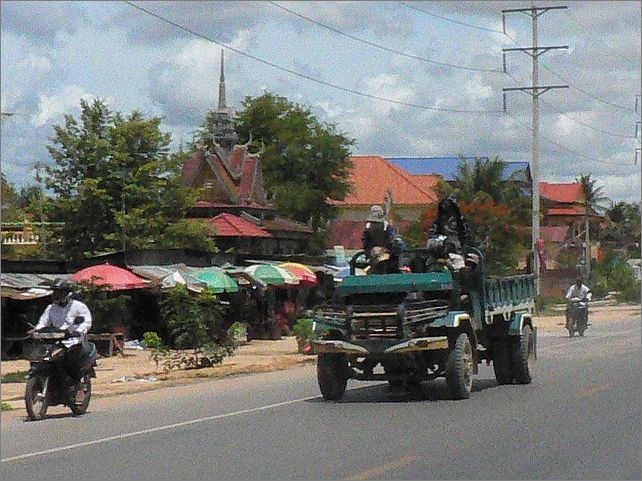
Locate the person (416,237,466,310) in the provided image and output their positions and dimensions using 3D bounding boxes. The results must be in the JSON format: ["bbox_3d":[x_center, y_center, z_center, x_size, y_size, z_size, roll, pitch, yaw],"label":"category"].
[{"bbox_3d":[2.449,0.589,17.958,0.911,1.693,0.581,-1,23,31],"label":"person"}]

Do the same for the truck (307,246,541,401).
[{"bbox_3d":[2.316,1.503,18.189,3.307,2.917,6.009,-4,-3,24],"label":"truck"}]

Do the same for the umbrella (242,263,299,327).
[{"bbox_3d":[-2.190,2.321,35.342,2.372,3.457,3.285,-5,1,-5],"label":"umbrella"}]

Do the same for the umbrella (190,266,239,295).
[{"bbox_3d":[-3.580,1.331,30.911,1.508,0.885,2.585,-8,-2,-9],"label":"umbrella"}]

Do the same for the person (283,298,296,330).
[{"bbox_3d":[-1.469,3.288,40.755,0.351,0.992,0.695,1,2,15],"label":"person"}]

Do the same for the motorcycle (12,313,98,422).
[{"bbox_3d":[-4.419,2.215,15.811,0.845,1.642,2.369,-3,-6,11],"label":"motorcycle"}]
